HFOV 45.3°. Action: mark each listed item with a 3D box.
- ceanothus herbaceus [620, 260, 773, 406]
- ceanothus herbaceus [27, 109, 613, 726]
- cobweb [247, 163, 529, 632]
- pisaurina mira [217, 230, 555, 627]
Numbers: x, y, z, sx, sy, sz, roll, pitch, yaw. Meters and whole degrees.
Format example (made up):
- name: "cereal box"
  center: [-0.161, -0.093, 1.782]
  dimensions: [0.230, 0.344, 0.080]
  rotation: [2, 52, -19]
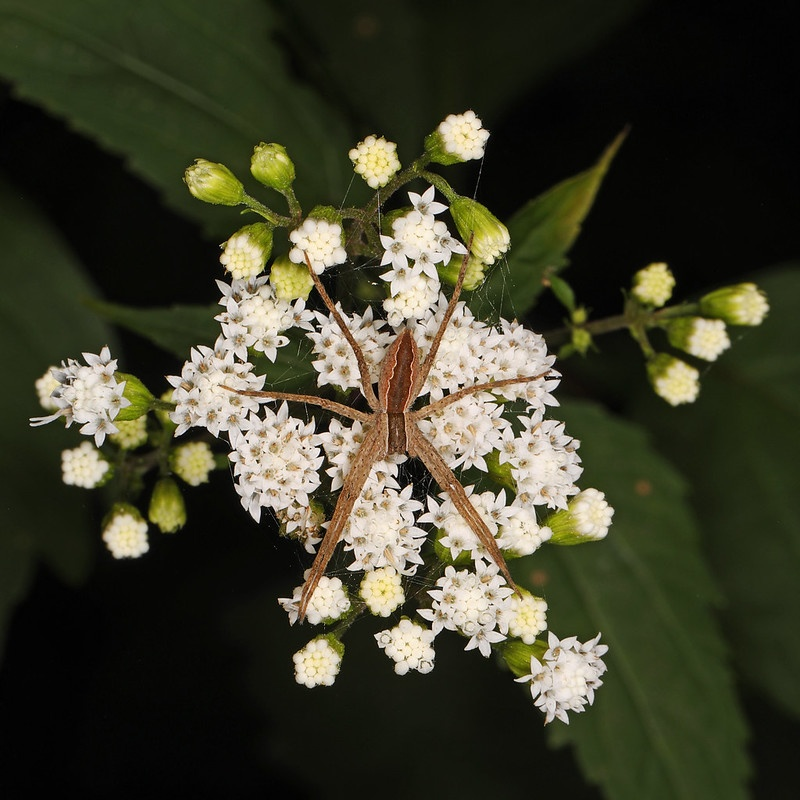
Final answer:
- name: "ceanothus herbaceus"
  center: [0.877, -0.221, 2.920]
  dimensions: [0.437, 0.147, 0.436]
  rotation: [43, 114, 38]
- name: "ceanothus herbaceus"
  center: [-0.034, 0.072, 3.196]
  dimensions: [1.439, 0.470, 1.947]
  rotation: [-14, 95, 0]
- name: "cobweb"
  center: [-0.022, 0.078, 2.723]
  dimensions: [0.854, 0.189, 1.002]
  rotation: [5, 85, -5]
- name: "pisaurina mira"
  center: [-0.038, 0.068, 2.729]
  dimensions: [1.120, 0.283, 1.178]
  rotation: [0, 88, 1]
